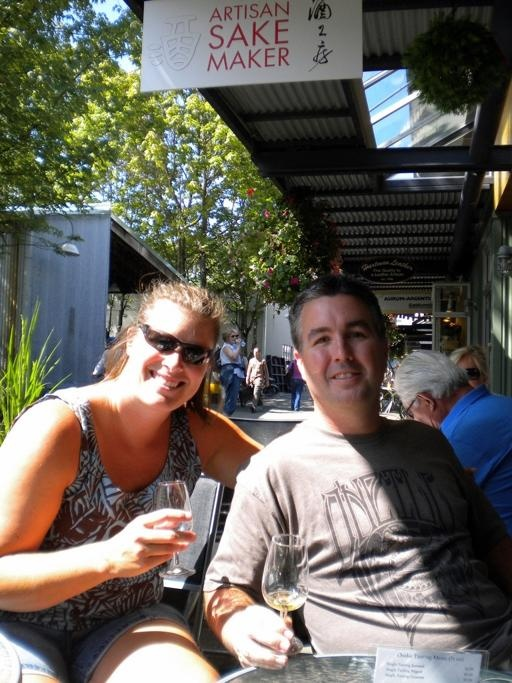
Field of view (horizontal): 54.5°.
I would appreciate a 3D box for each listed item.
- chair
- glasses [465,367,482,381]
[{"bbox_3d":[-0.050,0.539,1.447,0.256,0.616,0.294,-7,-35,-28],"label":"chair"},{"bbox_3d":[1.644,0.248,3.767,0.128,0.128,0.059,4,0,40],"label":"glasses"}]
